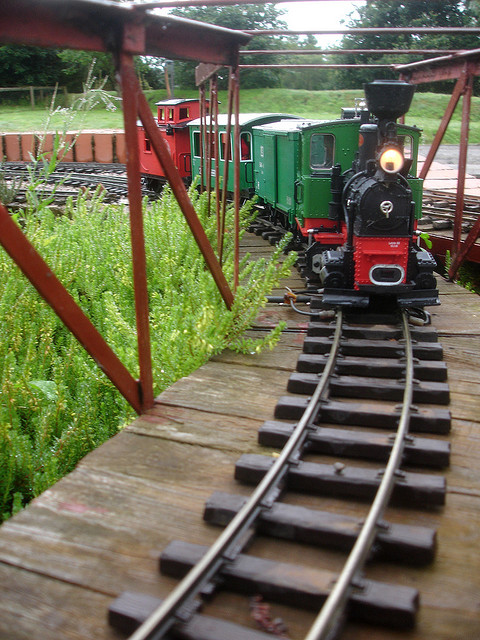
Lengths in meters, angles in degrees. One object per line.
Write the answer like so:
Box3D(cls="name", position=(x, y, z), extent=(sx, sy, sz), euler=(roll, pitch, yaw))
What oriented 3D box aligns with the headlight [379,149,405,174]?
Box3D(cls="headlight", position=(1.478, -1.531, 4.828), extent=(0.234, 0.226, 0.100), euler=(2, 21, 5))
